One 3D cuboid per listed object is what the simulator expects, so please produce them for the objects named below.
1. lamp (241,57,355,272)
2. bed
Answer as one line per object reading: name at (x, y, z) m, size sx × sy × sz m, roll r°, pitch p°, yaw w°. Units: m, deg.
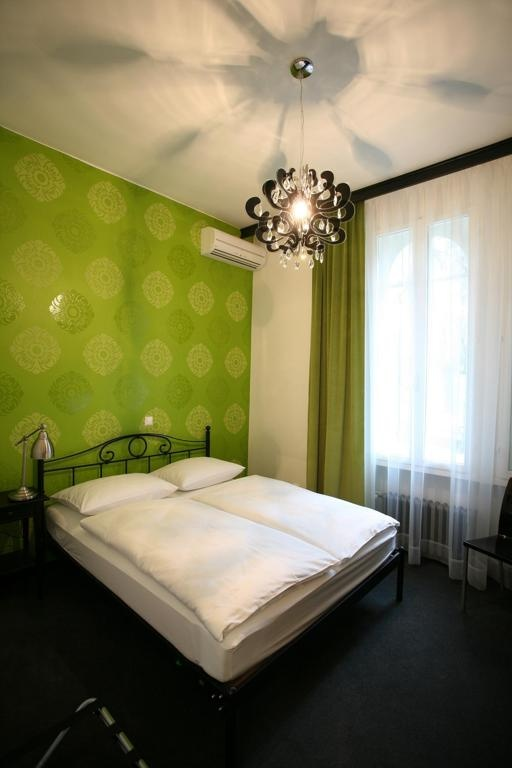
lamp at (0.264, -1.116, 2.936) m, size 0.507 × 0.909 × 1.325 m, roll 3°, pitch 11°, yaw 7°
bed at (-0.211, 0.841, 2.914) m, size 1.432 × 0.557 × 1.861 m, roll -8°, pitch 15°, yaw -43°
